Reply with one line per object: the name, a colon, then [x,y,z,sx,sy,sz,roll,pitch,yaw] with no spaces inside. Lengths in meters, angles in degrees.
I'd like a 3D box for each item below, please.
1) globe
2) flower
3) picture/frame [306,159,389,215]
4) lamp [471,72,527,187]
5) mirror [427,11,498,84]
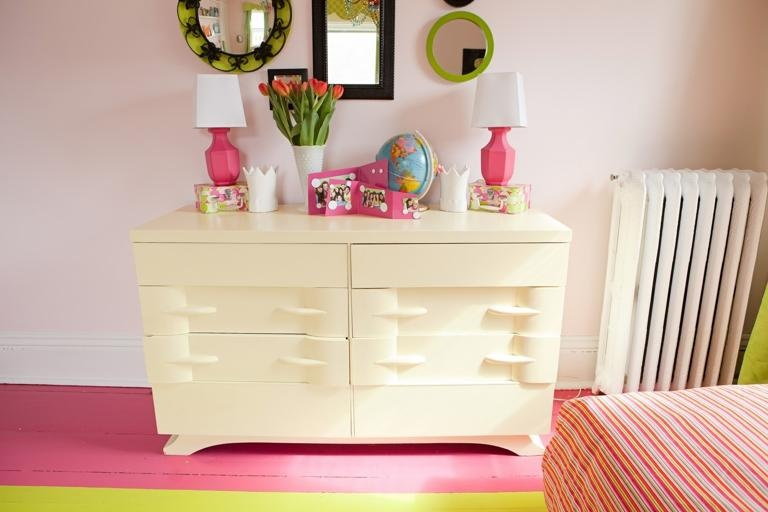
globe: [0.124,-0.438,2.877,0.335,0.347,0.338,-2,5,-3]
flower: [-0.402,-0.663,2.819,0.386,0.317,0.336,-4,14,-18]
picture/frame: [-0.161,-0.352,2.660,0.295,0.175,0.307,16,27,38]
lamp: [0.542,-0.599,2.713,0.216,0.526,0.167,-7,16,-25]
mirror: [0.388,-1.029,2.804,0.445,0.397,0.019,-1,11,2]
